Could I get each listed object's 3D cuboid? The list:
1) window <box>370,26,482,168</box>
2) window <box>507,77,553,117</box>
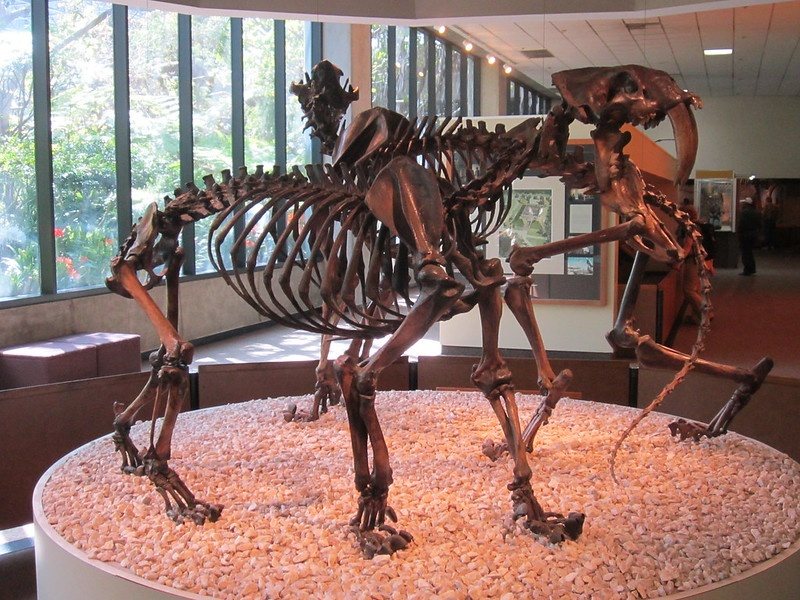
[{"bbox_3d":[0.545,-4.543,13.277,0.350,1.739,3.985,6,12,31],"label":"window"},{"bbox_3d":[3.305,-5.157,16.842,0.434,0.838,3.043,4,12,24],"label":"window"}]
